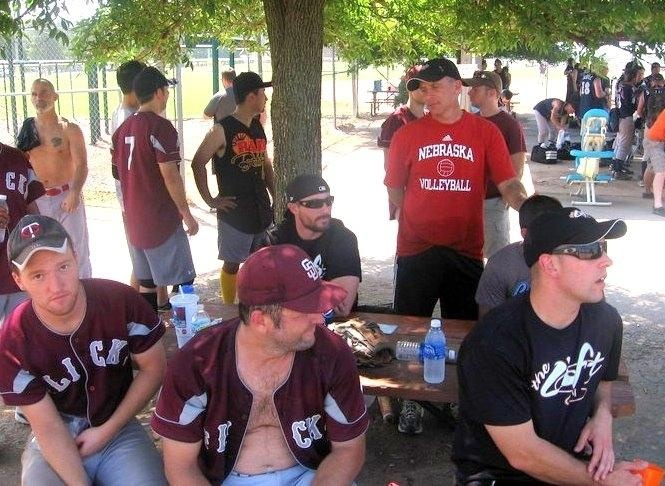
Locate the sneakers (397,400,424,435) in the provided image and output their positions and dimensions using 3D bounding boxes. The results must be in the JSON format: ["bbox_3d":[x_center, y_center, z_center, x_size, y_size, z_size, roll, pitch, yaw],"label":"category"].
[{"bbox_3d":[0.650,1.424,4.870,0.176,0.189,0.434,6,3,7],"label":"sneakers"}]

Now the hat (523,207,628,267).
[{"bbox_3d":[1.280,-0.054,3.138,0.440,0.233,0.306,-20,-1,23],"label":"hat"}]

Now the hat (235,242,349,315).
[{"bbox_3d":[-0.216,0.171,2.986,0.433,0.240,0.328,0,11,8],"label":"hat"}]

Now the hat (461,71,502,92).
[{"bbox_3d":[1.748,-1.888,6.873,0.427,0.181,0.287,7,11,-3],"label":"hat"}]

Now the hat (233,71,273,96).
[{"bbox_3d":[-0.831,-1.672,6.135,0.352,0.200,0.230,-21,26,-15],"label":"hat"}]

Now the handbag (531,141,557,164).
[{"bbox_3d":[5.691,-2.440,15.953,0.615,0.553,0.935,-2,5,-17],"label":"handbag"}]

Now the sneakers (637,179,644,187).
[{"bbox_3d":[6.799,-1.318,13.022,0.102,0.149,0.352,-1,18,23],"label":"sneakers"}]

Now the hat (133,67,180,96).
[{"bbox_3d":[-1.763,-1.572,5.811,0.218,0.220,0.363,13,46,30],"label":"hat"}]

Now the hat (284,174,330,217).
[{"bbox_3d":[-0.208,-0.386,4.545,0.258,0.145,0.209,-14,-4,42],"label":"hat"}]

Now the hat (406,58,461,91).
[{"bbox_3d":[0.890,-1.432,5.028,0.466,0.272,0.333,1,2,-21],"label":"hat"}]

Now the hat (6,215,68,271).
[{"bbox_3d":[-1.638,-0.005,3.294,0.324,0.285,0.185,-6,10,-23],"label":"hat"}]
